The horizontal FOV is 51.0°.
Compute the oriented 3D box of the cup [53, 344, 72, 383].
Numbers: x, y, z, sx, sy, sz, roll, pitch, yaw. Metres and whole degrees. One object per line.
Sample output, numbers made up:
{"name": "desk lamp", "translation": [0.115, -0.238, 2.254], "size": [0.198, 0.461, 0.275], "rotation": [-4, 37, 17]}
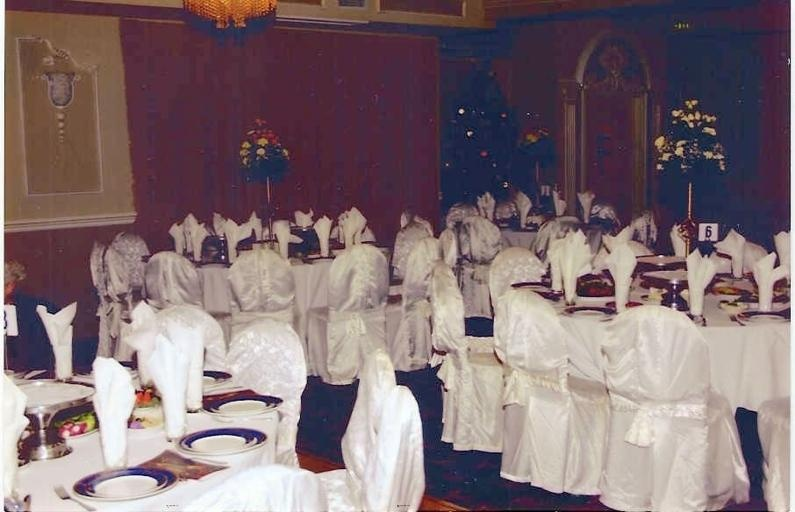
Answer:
{"name": "cup", "translation": [-1.901, 0.589, 4.714], "size": [0.097, 0.202, 0.153], "rotation": [-6, 7, -24]}
